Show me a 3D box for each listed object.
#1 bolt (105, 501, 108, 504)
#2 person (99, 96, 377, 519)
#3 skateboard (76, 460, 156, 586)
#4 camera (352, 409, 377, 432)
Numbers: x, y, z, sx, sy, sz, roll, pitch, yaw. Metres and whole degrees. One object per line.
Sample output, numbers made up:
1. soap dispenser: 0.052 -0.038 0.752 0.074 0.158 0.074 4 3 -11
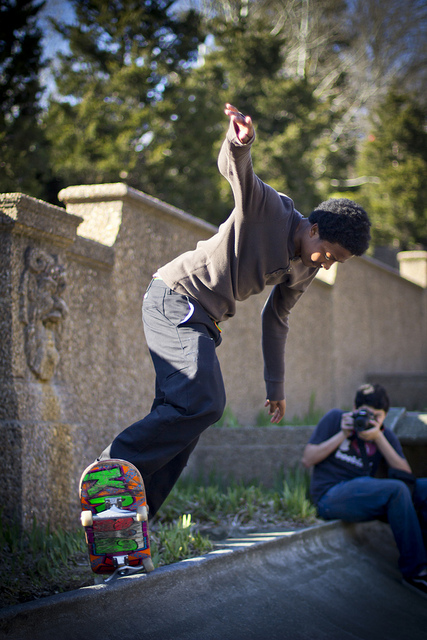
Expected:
1. bolt: -0.497 0.844 4.397 0.012 0.012 0.004 2 15 -6
2. person: 0.033 -0.070 4.784 1.332 1.989 0.804 -3 16 -23
3. skateboard: -0.442 0.963 4.402 0.338 0.625 0.277 0 15 -14
4. camera: 0.910 0.605 5.766 0.130 0.125 0.127 -23 21 2
